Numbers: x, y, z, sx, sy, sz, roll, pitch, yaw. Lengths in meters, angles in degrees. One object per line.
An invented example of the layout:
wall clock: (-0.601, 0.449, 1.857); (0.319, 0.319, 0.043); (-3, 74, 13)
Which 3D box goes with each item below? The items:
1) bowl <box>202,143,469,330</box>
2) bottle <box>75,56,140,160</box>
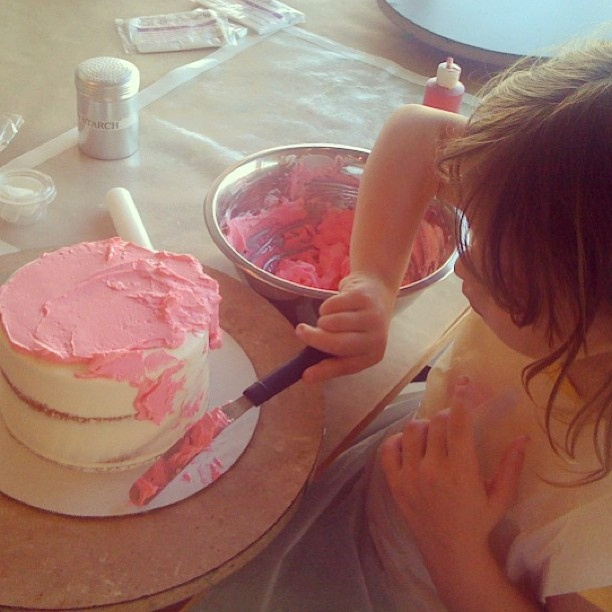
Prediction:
bowl: (-0.017, -0.053, 1.109); (0.417, 0.111, 0.307); (-1, 41, -11)
bottle: (-0.338, -0.330, 1.251); (0.100, 0.173, 0.064); (-17, 48, -27)
